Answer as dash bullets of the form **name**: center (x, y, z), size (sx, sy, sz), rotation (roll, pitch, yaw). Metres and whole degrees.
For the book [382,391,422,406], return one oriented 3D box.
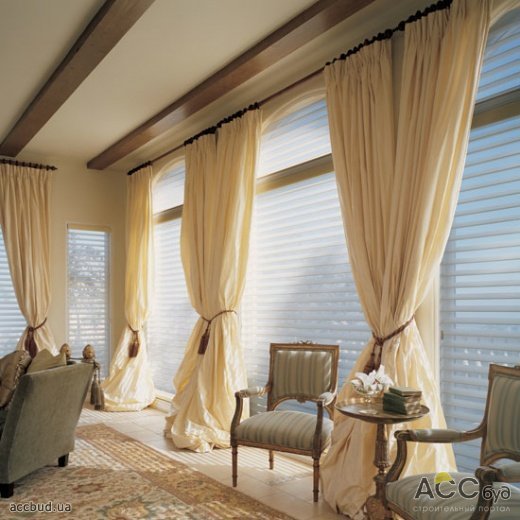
- **book**: center (0.729, 0.711, 2.335), size (0.113, 0.025, 0.110), rotation (1, -5, -18)

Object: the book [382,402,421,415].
- **book**: center (0.725, 0.754, 2.326), size (0.111, 0.025, 0.107), rotation (1, -5, -17)

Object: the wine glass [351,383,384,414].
- **wine glass**: center (0.599, 0.762, 2.474), size (0.168, 0.119, 0.172), rotation (0, -6, 2)

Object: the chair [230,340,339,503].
- **chair**: center (0.198, 1.065, 3.123), size (0.666, 0.906, 0.573), rotation (-2, -5, 25)
